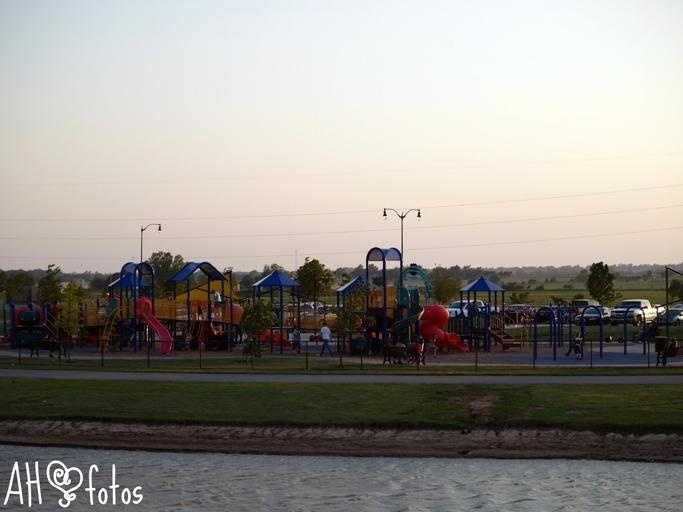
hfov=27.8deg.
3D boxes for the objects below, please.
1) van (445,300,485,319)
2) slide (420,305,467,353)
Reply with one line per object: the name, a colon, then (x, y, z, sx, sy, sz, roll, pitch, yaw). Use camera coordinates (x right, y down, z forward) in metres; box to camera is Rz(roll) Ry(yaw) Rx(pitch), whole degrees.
van: (8.822, 3.570, 97.080, 1.707, 1.295, 3.650, -3, -7, 30)
slide: (6.149, 4.561, 85.642, 2.679, 3.069, 2.492, 0, -3, -35)
